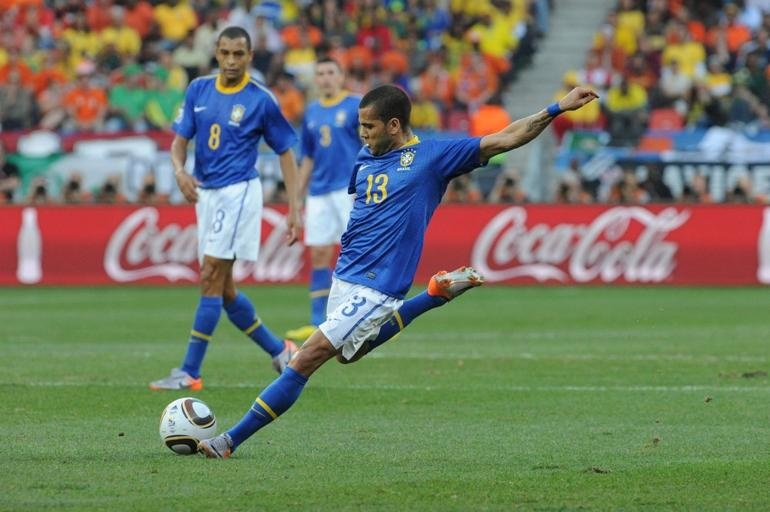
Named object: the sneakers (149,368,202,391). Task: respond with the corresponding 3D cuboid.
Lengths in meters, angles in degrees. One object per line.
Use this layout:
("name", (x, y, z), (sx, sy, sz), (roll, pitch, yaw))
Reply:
("sneakers", (-1.911, 1.128, 10.681), (0.551, 0.227, 0.182), (3, -1, -1))

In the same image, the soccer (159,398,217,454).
("soccer", (-1.587, 1.357, 9.288), (0.435, 0.414, 0.417), (-4, 53, -5))
